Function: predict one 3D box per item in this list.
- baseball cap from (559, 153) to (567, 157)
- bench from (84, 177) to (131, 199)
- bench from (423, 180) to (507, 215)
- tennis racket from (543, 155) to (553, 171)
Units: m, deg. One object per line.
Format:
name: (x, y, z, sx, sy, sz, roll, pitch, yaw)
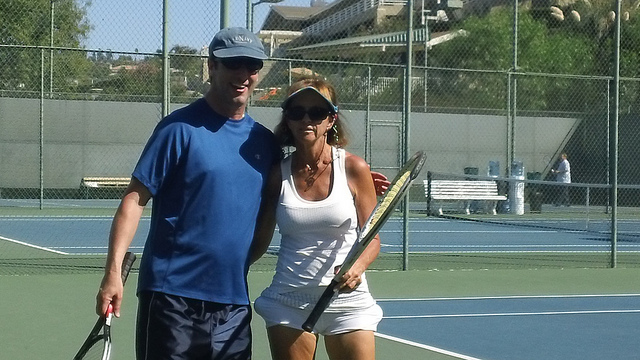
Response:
baseball cap: (10.104, -1.078, 37.876, 0.255, 0.130, 0.346, 0, 4, 6)
bench: (-8.451, 0.278, 36.549, 1.987, 0.390, 1.920, -6, -20, -6)
bench: (5.401, 0.633, 34.274, 2.914, 1.293, 1.051, 1, 4, -23)
tennis racket: (9.860, -0.790, 39.302, 0.432, 0.618, 0.601, 3, 4, 1)
